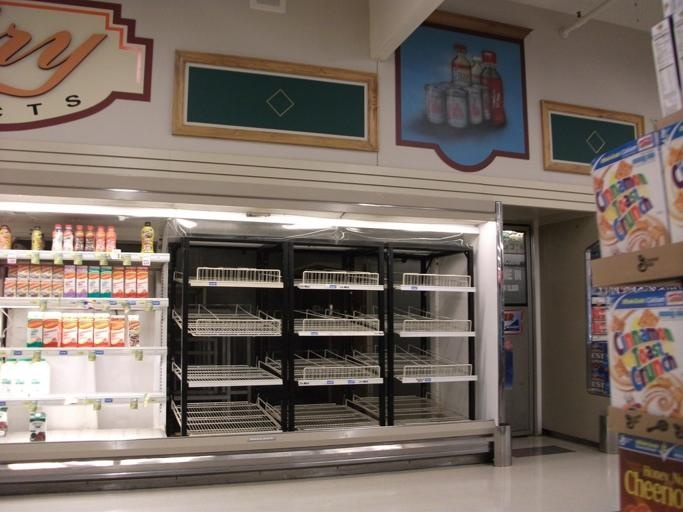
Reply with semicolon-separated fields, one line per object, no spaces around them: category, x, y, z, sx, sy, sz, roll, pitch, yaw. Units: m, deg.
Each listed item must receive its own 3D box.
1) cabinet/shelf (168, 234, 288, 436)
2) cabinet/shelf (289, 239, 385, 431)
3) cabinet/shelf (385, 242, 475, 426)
cabinet/shelf;-1.089;0.768;5.675;1.126;1.805;0.816;2;-2;-16
cabinet/shelf;-0.028;0.786;5.989;0.989;1.763;0.887;1;-2;-3
cabinet/shelf;0.973;0.817;6.248;0.914;1.772;0.991;1;-2;11
